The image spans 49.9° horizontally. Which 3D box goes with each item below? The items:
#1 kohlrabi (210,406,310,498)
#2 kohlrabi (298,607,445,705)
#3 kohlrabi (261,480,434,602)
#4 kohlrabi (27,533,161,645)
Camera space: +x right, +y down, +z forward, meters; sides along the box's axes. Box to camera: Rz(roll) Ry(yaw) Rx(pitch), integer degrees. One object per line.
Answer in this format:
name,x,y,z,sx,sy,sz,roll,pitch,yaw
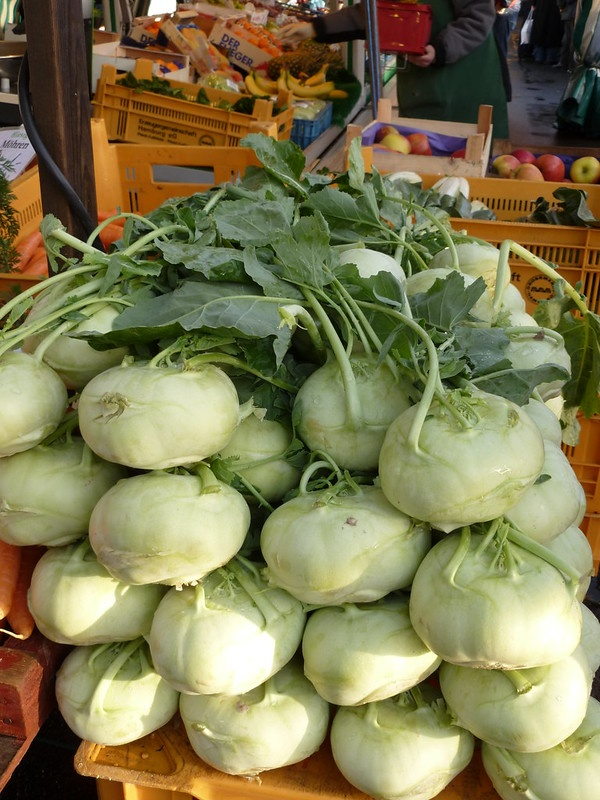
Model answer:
kohlrabi,-0.065,0.087,1.076,0.175,0.122,0.124,4,4,13
kohlrabi,0.119,0.379,1.026,0.244,0.117,0.219,-6,13,1
kohlrabi,0.063,0.211,0.993,0.234,0.154,0.244,-5,17,29
kohlrabi,-0.328,0.315,1.104,0.189,0.185,0.107,-20,10,12
